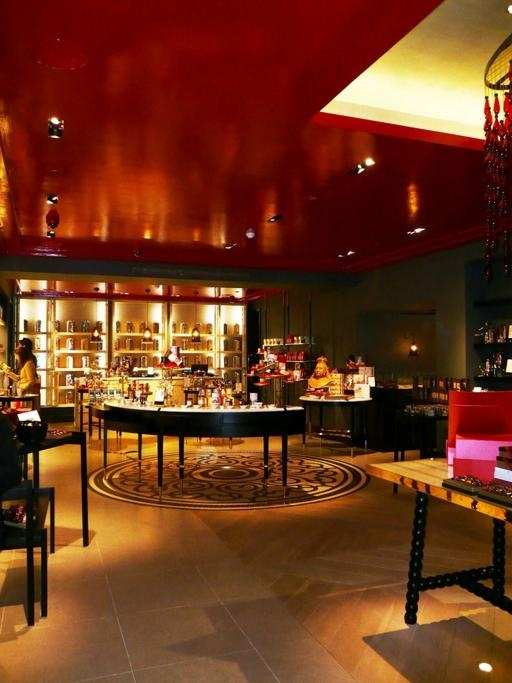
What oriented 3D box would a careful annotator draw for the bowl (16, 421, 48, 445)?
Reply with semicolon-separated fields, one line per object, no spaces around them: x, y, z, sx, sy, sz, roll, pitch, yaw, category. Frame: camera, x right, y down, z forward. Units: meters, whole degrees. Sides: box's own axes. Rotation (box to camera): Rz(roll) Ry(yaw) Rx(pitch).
-1.356;0.557;3.188;0.141;0.104;0.132;-3;-4;0;bowl

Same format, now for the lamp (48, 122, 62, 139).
-1.207;-1.271;3.157;0.075;0.125;0.087;2;-1;-7;lamp

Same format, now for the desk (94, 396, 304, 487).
-0.624;1.091;5.417;2.112;0.830;0.672;-1;-4;19;desk
